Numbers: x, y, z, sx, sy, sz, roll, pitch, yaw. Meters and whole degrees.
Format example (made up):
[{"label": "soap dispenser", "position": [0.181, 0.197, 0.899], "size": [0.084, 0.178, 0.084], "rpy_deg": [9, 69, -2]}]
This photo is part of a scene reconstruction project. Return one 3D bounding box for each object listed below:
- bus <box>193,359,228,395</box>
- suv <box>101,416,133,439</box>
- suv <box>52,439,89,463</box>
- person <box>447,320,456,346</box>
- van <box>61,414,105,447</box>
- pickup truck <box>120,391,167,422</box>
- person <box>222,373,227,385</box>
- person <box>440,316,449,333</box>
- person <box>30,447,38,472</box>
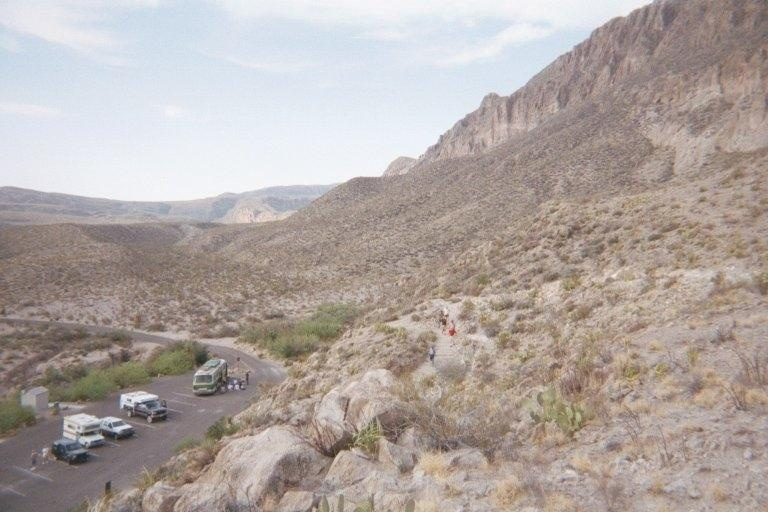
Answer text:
[{"label": "bus", "position": [-15.752, 11.142, 55.089], "size": [1.600, 1.783, 4.762], "rpy_deg": [-1, -2, -2]}, {"label": "suv", "position": [-21.474, 13.966, 48.933], "size": [2.472, 1.201, 1.365], "rpy_deg": [0, 3, 36]}, {"label": "suv", "position": [-23.955, 14.996, 46.677], "size": [2.384, 1.259, 1.474], "rpy_deg": [1, 1, 37]}, {"label": "person", "position": [5.293, 6.152, 47.927], "size": [0.550, 1.860, 0.750], "rpy_deg": [-3, -9, 7]}, {"label": "van", "position": [-23.633, 14.008, 48.521], "size": [3.348, 2.088, 1.906], "rpy_deg": [8, 5, 28]}, {"label": "pickup truck", "position": [-20.130, 13.037, 51.680], "size": [3.478, 1.929, 2.120], "rpy_deg": [9, 3, 30]}, {"label": "person", "position": [-14.833, 11.509, 56.675], "size": [0.507, 0.971, 0.965], "rpy_deg": [0, 6, 1]}, {"label": "person", "position": [4.929, 5.494, 49.980], "size": [0.701, 1.179, 1.401], "rpy_deg": [-6, 8, 7]}, {"label": "person", "position": [-26.900, 15.580, 46.970], "size": [0.536, 1.026, 2.141], "rpy_deg": [-11, 8, -28]}]
